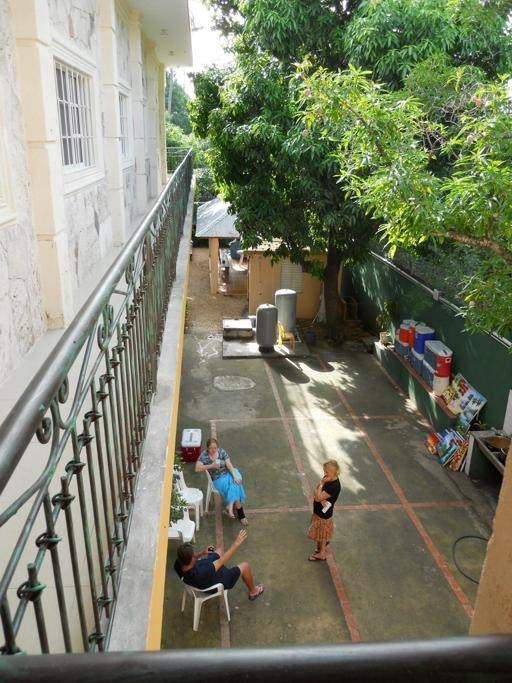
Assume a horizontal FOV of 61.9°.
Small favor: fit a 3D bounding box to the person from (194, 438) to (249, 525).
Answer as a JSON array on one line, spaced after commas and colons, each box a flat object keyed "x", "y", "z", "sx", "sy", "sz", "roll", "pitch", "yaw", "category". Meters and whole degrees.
[{"x": -0.579, "y": 2.440, "z": 7.603, "sx": 0.634, "sy": 1.510, "sz": 0.686, "roll": -20, "pitch": 11, "yaw": -42, "category": "person"}]

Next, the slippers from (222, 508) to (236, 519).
[{"x": -0.530, "y": 3.135, "z": 7.915, "sx": 0.329, "sy": 0.159, "sz": 0.115, "roll": 9, "pitch": 12, "yaw": 39, "category": "slippers"}]

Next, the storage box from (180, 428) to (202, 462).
[{"x": -1.432, "y": 2.267, "z": 9.557, "sx": 0.360, "sy": 0.447, "sz": 0.716, "roll": 1, "pitch": 25, "yaw": -1, "category": "storage box"}]

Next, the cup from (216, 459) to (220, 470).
[{"x": -0.661, "y": 2.151, "z": 7.478, "sx": 0.076, "sy": 0.130, "sz": 0.110, "roll": -4, "pitch": 1, "yaw": -9, "category": "cup"}]

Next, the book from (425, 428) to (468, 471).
[{"x": 4.187, "y": 2.304, "z": 9.320, "sx": 0.211, "sy": 0.736, "sz": 0.694, "roll": 4, "pitch": 30, "yaw": -26, "category": "book"}]

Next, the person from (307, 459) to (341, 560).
[{"x": 1.082, "y": 2.683, "z": 6.825, "sx": 0.381, "sy": 1.663, "sz": 1.035, "roll": 11, "pitch": 2, "yaw": 14, "category": "person"}]

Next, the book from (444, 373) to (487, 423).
[{"x": 4.711, "y": 1.286, "z": 9.575, "sx": 0.088, "sy": 0.708, "sz": 0.912, "roll": 14, "pitch": 26, "yaw": -13, "category": "book"}]

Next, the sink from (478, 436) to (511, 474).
[{"x": 4.488, "y": 2.074, "z": 8.159, "sx": 0.496, "sy": 0.774, "sz": 0.634, "roll": 13, "pitch": 3, "yaw": 30, "category": "sink"}]
